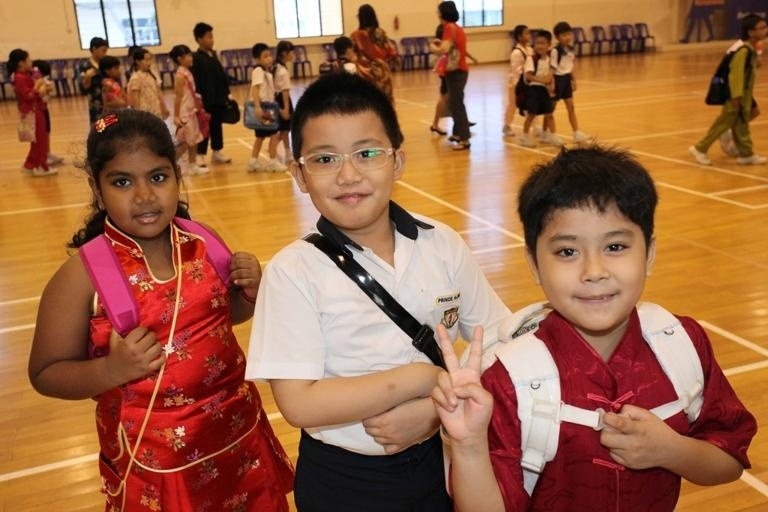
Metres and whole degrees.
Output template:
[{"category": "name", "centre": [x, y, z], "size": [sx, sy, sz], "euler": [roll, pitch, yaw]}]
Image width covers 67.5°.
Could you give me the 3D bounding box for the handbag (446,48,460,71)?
[{"category": "handbag", "centre": [1.099, -3.150, 9.213], "size": [0.199, 0.305, 0.075], "euler": [6, 9, 17]}]

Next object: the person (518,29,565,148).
[{"category": "person", "centre": [2.480, -2.721, 9.330], "size": [0.630, 1.786, 0.804], "euler": [-2, 16, 13]}]

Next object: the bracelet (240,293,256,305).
[{"category": "bracelet", "centre": [-0.525, 0.166, 2.218], "size": [0.045, 0.033, 0.055], "euler": [26, 8, -44]}]

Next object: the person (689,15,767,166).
[{"category": "person", "centre": [4.600, -2.151, 7.575], "size": [0.926, 1.893, 0.528], "euler": [-4, 15, 4]}]
